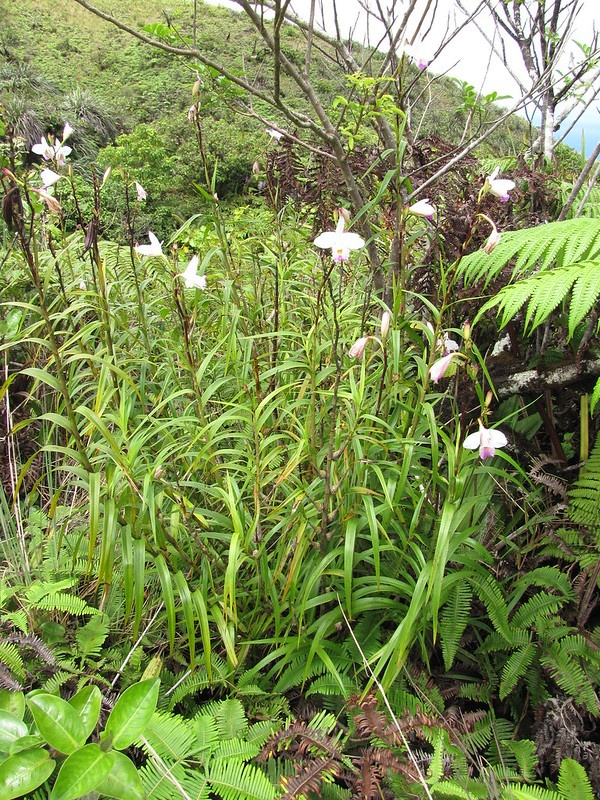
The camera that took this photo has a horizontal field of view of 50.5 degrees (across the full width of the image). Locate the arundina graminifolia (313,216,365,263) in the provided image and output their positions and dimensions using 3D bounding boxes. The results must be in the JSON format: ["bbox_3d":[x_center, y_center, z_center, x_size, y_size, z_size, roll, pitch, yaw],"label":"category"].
[{"bbox_3d":[0.115,-0.440,1.775,0.121,0.127,0.041,1,4,4],"label":"arundina graminifolia"}]

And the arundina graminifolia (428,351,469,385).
[{"bbox_3d":[0.435,-0.101,1.862,0.047,0.127,0.055,28,-11,8],"label":"arundina graminifolia"}]
